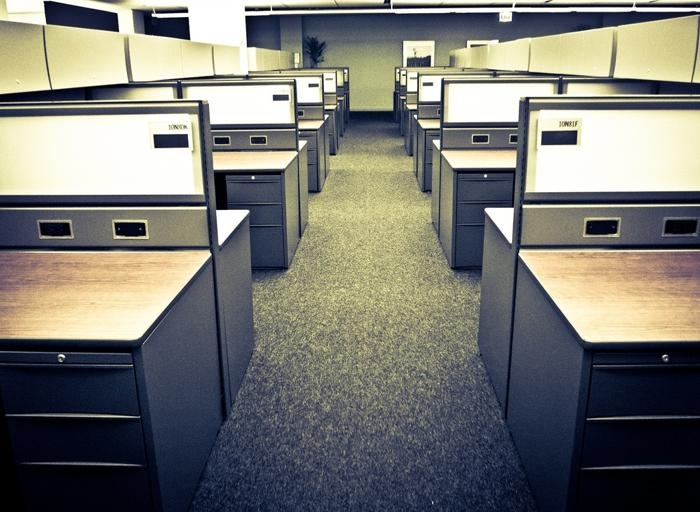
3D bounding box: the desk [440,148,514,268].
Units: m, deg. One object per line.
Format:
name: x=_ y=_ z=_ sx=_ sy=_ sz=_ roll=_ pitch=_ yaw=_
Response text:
desk: x=0.832 y=-0.364 z=3.715 sx=0.428 sy=0.653 sz=0.714 roll=-3 pitch=19 yaw=2
